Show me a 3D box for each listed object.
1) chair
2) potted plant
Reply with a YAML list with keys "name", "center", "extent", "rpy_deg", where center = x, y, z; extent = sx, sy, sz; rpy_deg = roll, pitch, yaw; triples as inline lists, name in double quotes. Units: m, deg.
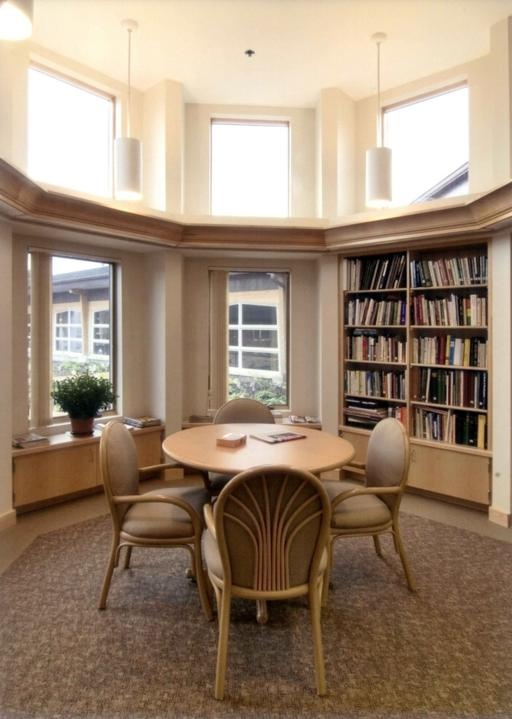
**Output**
- name: "chair"
  center: [-0.058, 0.729, 2.387]
  extent: [0.982, 0.650, 1.138]
  rpy_deg: [0, -3, 2]
- name: "potted plant"
  center: [-1.399, 0.290, 4.428]
  extent: [0.406, 0.636, 0.574]
  rpy_deg: [0, 2, 1]
